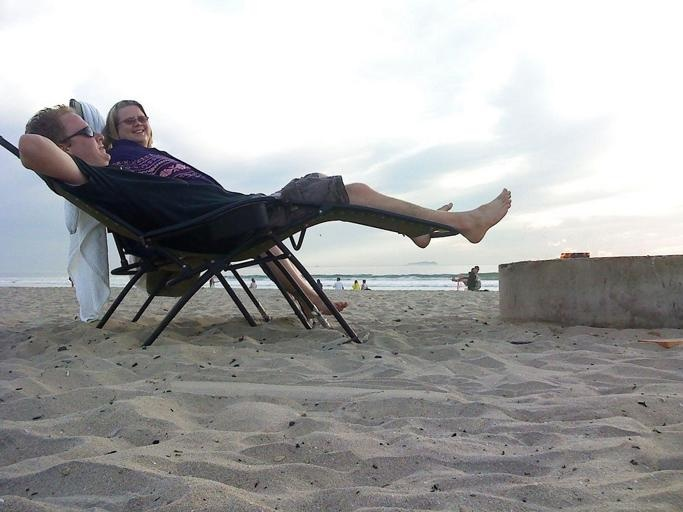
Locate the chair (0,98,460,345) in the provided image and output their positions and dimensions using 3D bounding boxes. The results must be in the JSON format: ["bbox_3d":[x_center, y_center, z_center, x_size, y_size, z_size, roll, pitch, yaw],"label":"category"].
[{"bbox_3d":[-0.476,-0.362,4.157,3.704,1.684,1.507,-2,1,-7],"label":"chair"}]

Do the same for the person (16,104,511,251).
[{"bbox_3d":[-0.305,-0.523,3.397,3.251,0.885,1.218,-3,2,-2],"label":"person"}]

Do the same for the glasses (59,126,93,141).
[{"bbox_3d":[-1.697,-0.791,3.251,0.152,0.033,0.134,-17,13,-23],"label":"glasses"}]
